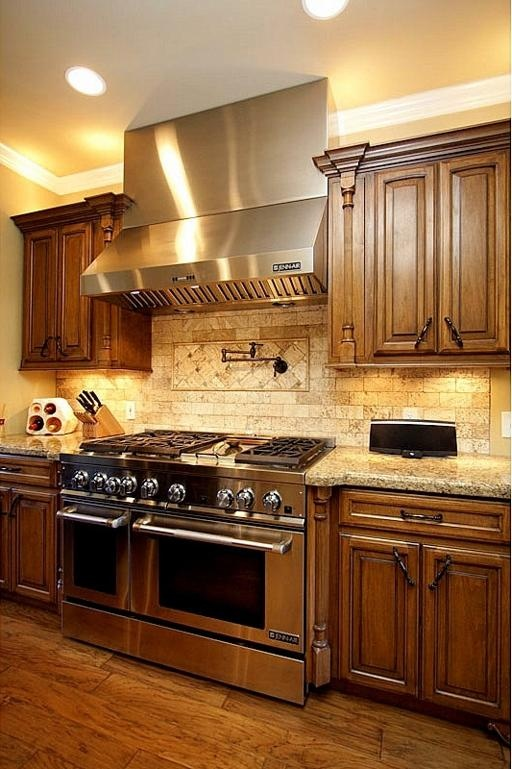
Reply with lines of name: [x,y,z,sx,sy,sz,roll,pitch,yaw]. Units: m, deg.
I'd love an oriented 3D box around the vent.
vent: [-0.213,-0.886,2.766,1.078,0.914,0.569,-2,2,20]

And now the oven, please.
oven: [-0.248,0.832,2.288,0.991,0.637,0.672,-2,-7,19]

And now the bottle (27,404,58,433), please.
bottle: [-1.198,0.183,3.269,0.174,0.168,0.054,3,-1,27]

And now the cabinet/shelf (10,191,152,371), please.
cabinet/shelf: [-0.927,-0.536,3.112,0.911,1.027,0.542,-3,-6,22]

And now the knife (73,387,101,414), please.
knife: [-0.864,0.064,2.990,0.098,0.138,0.037,-26,20,8]

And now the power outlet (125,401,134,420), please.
power outlet: [-0.734,0.146,3.375,0.071,0.108,0.024,6,12,29]
